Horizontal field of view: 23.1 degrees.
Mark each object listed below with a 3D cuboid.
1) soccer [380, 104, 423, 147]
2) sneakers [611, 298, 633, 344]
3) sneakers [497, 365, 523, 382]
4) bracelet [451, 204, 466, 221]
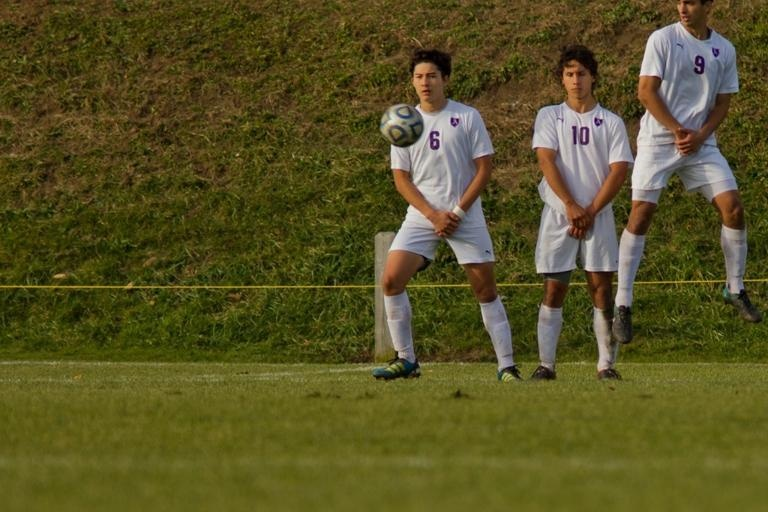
[{"bbox_3d":[0.271,-1.930,28.342,0.642,0.707,0.609,-3,6,-44],"label":"soccer"},{"bbox_3d":[3.628,1.110,28.286,0.230,0.256,0.657,-1,52,7],"label":"sneakers"},{"bbox_3d":[1.921,1.922,28.157,0.151,0.195,0.426,0,0,36],"label":"sneakers"},{"bbox_3d":[1.157,-0.573,28.046,0.163,0.206,0.203,-16,34,-31],"label":"bracelet"}]
